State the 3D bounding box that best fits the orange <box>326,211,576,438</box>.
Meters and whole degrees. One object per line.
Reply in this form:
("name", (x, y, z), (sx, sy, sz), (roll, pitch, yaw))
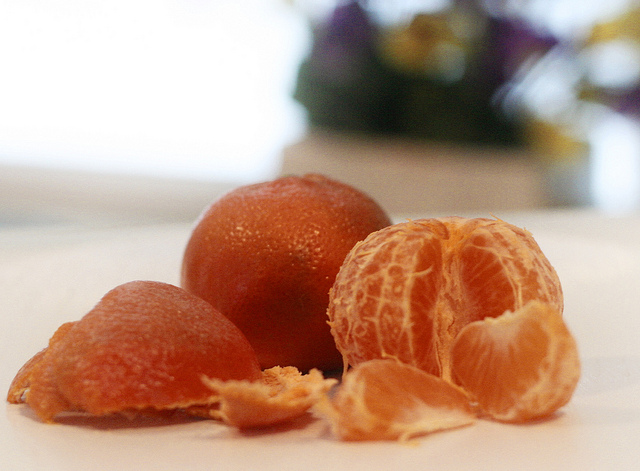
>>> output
("orange", (0.256, 0.165, 1.300), (0.477, 0.316, 0.471), (0, 14, 34))
